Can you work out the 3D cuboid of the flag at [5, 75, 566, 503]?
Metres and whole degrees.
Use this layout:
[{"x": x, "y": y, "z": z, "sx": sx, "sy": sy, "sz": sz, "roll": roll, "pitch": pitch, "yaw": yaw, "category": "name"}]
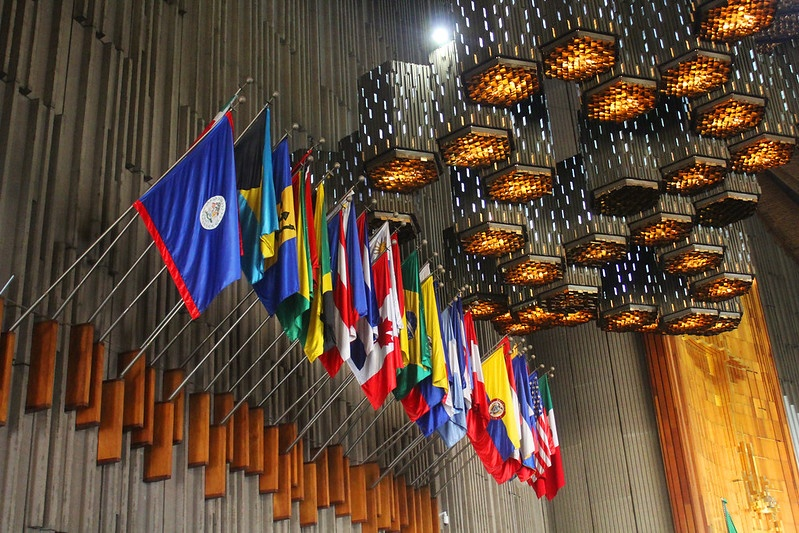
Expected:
[{"x": -2.909, "y": 0.918, "z": 17.176, "sx": 7.455, "sy": 2.082, "sz": 7.309, "roll": -27, "pitch": -55, "yaw": 2, "category": "flag"}]
